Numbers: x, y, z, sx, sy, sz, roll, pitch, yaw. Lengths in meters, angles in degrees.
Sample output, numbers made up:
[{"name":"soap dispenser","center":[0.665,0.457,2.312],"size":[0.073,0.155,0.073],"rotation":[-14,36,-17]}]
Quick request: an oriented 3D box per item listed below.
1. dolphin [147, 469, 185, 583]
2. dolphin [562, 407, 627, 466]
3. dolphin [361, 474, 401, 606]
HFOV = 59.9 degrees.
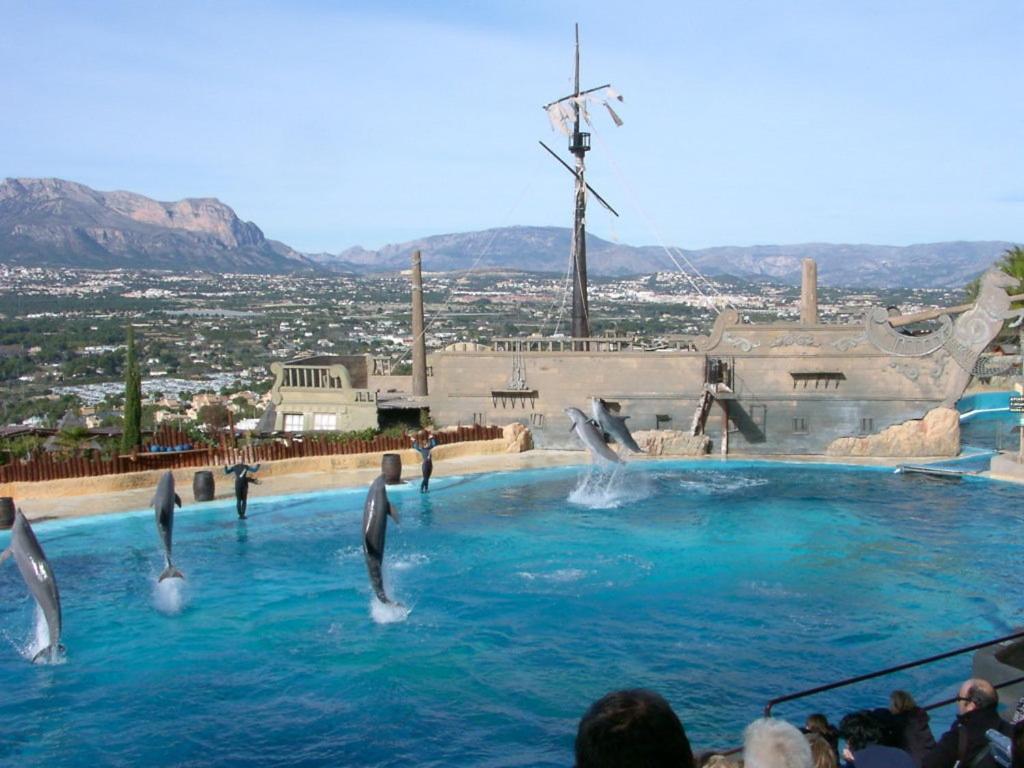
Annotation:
[{"name":"dolphin","center":[-8.330,3.546,21.301],"size":[0.789,2.674,0.718],"rotation":[1,4,-6]},{"name":"dolphin","center":[2.431,1.511,26.142],"size":[1.330,1.723,1.664],"rotation":[1,10,10]},{"name":"dolphin","center":[-2.890,3.565,19.471],"size":[0.940,2.858,1.155],"rotation":[-8,13,-43]}]
